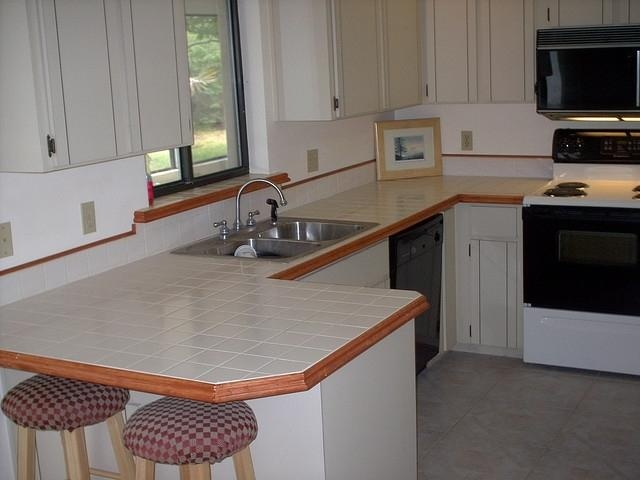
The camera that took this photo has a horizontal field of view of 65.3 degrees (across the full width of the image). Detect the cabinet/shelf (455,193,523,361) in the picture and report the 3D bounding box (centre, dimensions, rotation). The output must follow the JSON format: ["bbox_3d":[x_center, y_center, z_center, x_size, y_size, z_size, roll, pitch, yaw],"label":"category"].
[{"bbox_3d":[1.162,0.244,3.431,0.446,0.980,0.141,1,14,16],"label":"cabinet/shelf"}]

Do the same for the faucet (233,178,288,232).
[{"bbox_3d":[-0.302,-0.198,2.738,0.354,0.351,0.248,3,9,12],"label":"faucet"}]

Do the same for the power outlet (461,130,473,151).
[{"bbox_3d":[1.220,-0.827,4.137,0.093,0.168,0.034,1,14,17],"label":"power outlet"}]

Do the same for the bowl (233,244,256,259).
[{"bbox_3d":[-0.380,0.055,2.534,0.109,0.052,0.297,-5,13,-10],"label":"bowl"}]

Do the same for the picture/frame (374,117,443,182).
[{"bbox_3d":[0.706,-0.730,4.066,0.549,0.447,0.039,-4,3,-19],"label":"picture/frame"}]
